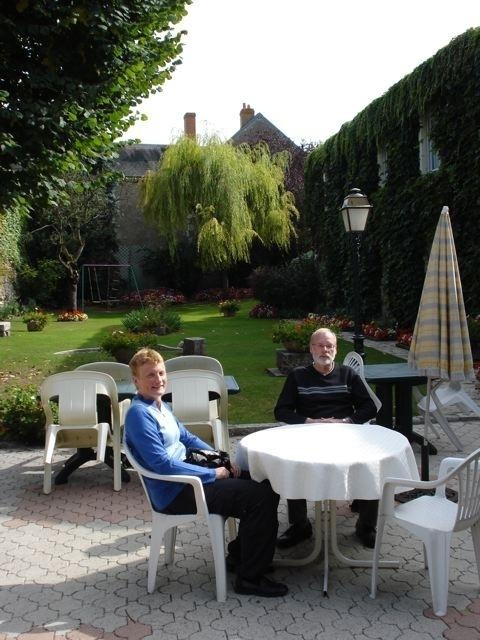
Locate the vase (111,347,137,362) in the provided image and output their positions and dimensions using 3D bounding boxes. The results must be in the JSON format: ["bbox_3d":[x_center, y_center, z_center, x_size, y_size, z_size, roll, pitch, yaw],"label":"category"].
[{"bbox_3d":[-2.066,0.617,9.779,0.526,0.366,0.512,1,-1,-8],"label":"vase"}]

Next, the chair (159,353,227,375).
[{"bbox_3d":[-0.474,0.465,5.795,0.482,0.231,0.601,0,-17,-4],"label":"chair"}]

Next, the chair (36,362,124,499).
[{"bbox_3d":[-1.235,0.999,4.411,0.625,0.919,0.727,-4,28,9],"label":"chair"}]

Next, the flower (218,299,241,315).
[{"bbox_3d":[-0.351,-0.482,20.535,0.680,0.525,0.689,1,-4,-18],"label":"flower"}]

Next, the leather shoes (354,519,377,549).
[{"bbox_3d":[0.775,1.341,3.417,0.077,0.161,0.171,1,-9,-24],"label":"leather shoes"}]

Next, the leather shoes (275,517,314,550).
[{"bbox_3d":[0.358,1.352,3.512,0.282,0.107,0.094,-12,8,-40],"label":"leather shoes"}]

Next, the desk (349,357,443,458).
[{"bbox_3d":[1.484,0.731,5.517,0.960,0.857,0.929,-4,20,-6],"label":"desk"}]

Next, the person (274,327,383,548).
[{"bbox_3d":[0.560,0.855,3.839,0.770,1.517,0.634,2,-4,4],"label":"person"}]

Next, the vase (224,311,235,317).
[{"bbox_3d":[-0.388,-0.215,20.375,0.207,0.139,0.184,-4,9,-36],"label":"vase"}]

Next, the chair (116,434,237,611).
[{"bbox_3d":[-0.383,1.112,3.273,0.737,0.971,0.772,-1,-3,4],"label":"chair"}]

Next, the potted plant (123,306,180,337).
[{"bbox_3d":[-2.407,0.062,14.976,1.054,0.567,1.045,-1,-1,8],"label":"potted plant"}]

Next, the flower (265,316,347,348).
[{"bbox_3d":[1.042,0.208,9.638,1.085,0.604,1.071,-1,2,16],"label":"flower"}]

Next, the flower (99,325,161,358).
[{"bbox_3d":[-2.041,0.448,10.073,0.775,0.523,0.747,1,-3,-2],"label":"flower"}]

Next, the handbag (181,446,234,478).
[{"bbox_3d":[-0.183,0.844,3.265,0.335,0.109,0.132,1,-17,25],"label":"handbag"}]

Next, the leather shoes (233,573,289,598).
[{"bbox_3d":[0.096,1.361,2.837,0.230,0.086,0.104,-2,6,5],"label":"leather shoes"}]

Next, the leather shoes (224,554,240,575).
[{"bbox_3d":[-0.044,1.383,3.097,0.052,0.106,0.153,3,6,13],"label":"leather shoes"}]

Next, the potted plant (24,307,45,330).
[{"bbox_3d":[-6.094,0.089,16.433,0.613,0.489,0.770,-3,5,-18],"label":"potted plant"}]
